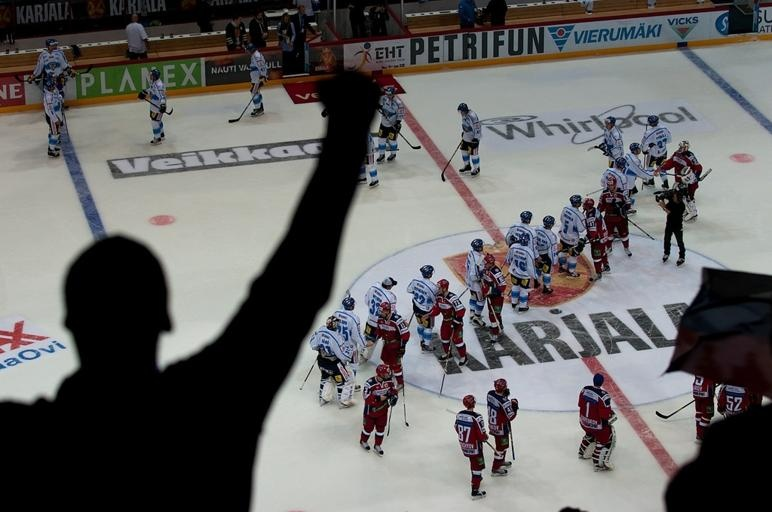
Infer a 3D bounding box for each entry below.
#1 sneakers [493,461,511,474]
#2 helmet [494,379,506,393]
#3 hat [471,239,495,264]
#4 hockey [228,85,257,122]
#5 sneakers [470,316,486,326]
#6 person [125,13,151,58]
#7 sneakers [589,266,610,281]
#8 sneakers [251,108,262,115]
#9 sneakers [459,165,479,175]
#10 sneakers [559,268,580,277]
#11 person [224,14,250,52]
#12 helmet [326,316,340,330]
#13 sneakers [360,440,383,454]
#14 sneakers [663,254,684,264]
[{"bbox_3d":[1.967,3.623,12.245,0.292,0.188,0.094,-17,35,-11],"label":"sneakers"},{"bbox_3d":[1.919,2.171,11.954,0.184,0.216,0.215,3,21,13],"label":"helmet"},{"bbox_3d":[2.119,-0.083,15.773,0.235,0.557,0.254,-34,51,-1],"label":"hat"},{"bbox_3d":[-4.751,-4.997,23.727,0.306,0.302,2.064,35,57,8],"label":"hockey"},{"bbox_3d":[2.010,1.431,15.629,0.411,0.178,0.132,16,58,-12],"label":"sneakers"},{"bbox_3d":[-8.761,-7.653,24.983,0.789,1.459,1.665,-10,19,-15],"label":"person"},{"bbox_3d":[5.077,0.415,16.909,0.667,0.267,0.200,-15,14,-38],"label":"sneakers"},{"bbox_3d":[-4.199,-4.686,23.309,0.415,0.165,0.134,0,29,0],"label":"sneakers"},{"bbox_3d":[2.412,-2.442,20.526,0.664,0.260,0.219,9,7,6],"label":"sneakers"},{"bbox_3d":[4.372,0.406,17.022,0.524,0.221,0.172,2,22,15],"label":"sneakers"},{"bbox_3d":[-5.317,-7.892,25.387,0.762,1.113,1.470,-8,19,-8],"label":"person"},{"bbox_3d":[-0.961,1.219,13.098,0.207,0.243,0.245,-1,57,14],"label":"helmet"},{"bbox_3d":[-0.256,3.399,12.734,0.475,0.153,0.185,21,-5,32],"label":"sneakers"},{"bbox_3d":[6.953,0.042,17.127,0.290,0.091,0.278,5,40,17],"label":"sneakers"}]
